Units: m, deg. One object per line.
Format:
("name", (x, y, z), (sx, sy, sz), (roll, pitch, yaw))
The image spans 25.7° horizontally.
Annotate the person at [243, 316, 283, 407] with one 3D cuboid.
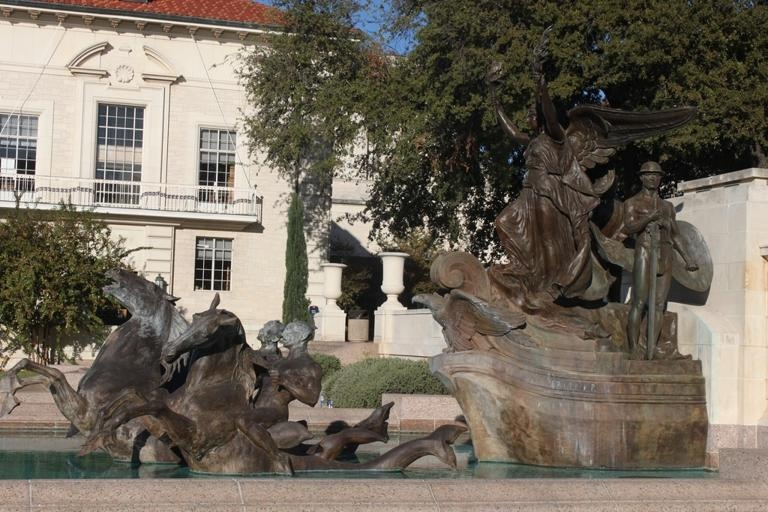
("person", (-2.948, 2.516, 41.290), (0.852, 1.822, 0.807), (9, 1, 26))
